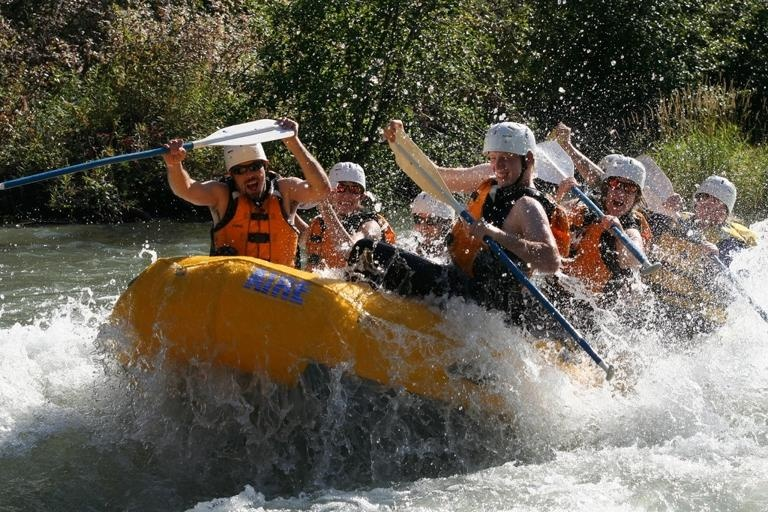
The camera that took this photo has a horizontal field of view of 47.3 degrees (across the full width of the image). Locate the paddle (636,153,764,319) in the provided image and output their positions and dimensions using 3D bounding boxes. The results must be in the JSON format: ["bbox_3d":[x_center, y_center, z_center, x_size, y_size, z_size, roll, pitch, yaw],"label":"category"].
[{"bbox_3d":[4.199,-0.204,11.664,2.905,0.599,0.406,55,8,21],"label":"paddle"}]

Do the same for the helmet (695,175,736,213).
[{"bbox_3d":[4.351,-0.841,11.573,0.376,0.437,0.533,27,4,3],"label":"helmet"}]
